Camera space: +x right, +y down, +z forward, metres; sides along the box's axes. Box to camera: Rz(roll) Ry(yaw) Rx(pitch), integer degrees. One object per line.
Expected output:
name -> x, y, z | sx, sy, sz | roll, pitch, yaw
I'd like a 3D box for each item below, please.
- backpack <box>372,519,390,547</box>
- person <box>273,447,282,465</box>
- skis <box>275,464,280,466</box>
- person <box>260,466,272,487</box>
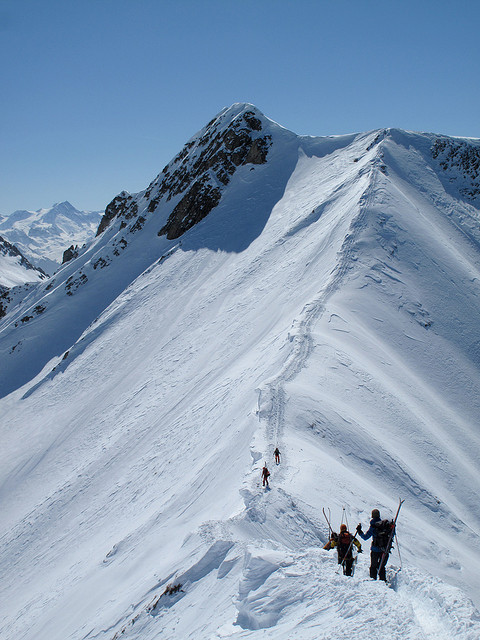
backpack -> 5.581, 8.371, 31.217 | 0.649, 1.030, 0.374 | -2, 12, 9
person -> 1.916, 6.650, 39.613 | 0.448, 0.742, 1.098 | -3, 10, 2
skis -> 1.881, 7.125, 39.148 | 0.092, 0.145, 0.093 | -5, -6, 38
person -> 1.260, 7.251, 37.751 | 0.575, 0.918, 1.376 | -3, 10, 2
